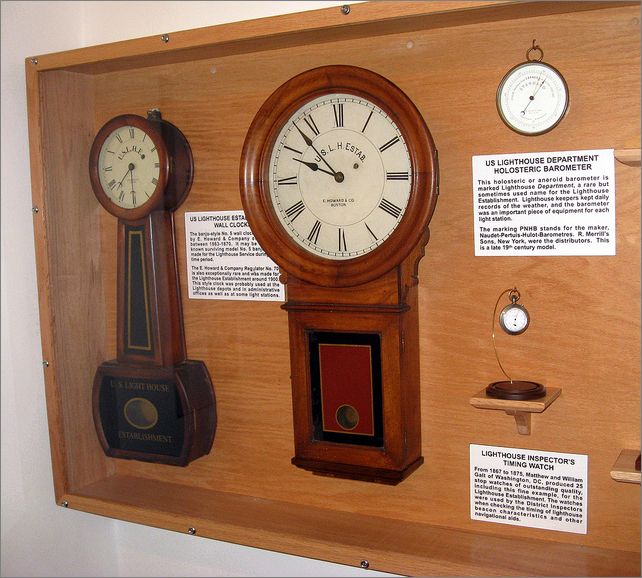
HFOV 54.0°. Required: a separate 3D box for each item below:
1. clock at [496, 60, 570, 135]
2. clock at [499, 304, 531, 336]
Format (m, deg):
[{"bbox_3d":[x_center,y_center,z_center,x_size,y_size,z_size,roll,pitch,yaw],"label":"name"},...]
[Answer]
[{"bbox_3d":[0.490,-0.430,1.424,0.210,0.028,0.187,3,-84,18],"label":"clock"},{"bbox_3d":[0.466,0.074,1.502,0.064,0.035,0.070,-4,-77,4],"label":"clock"}]
